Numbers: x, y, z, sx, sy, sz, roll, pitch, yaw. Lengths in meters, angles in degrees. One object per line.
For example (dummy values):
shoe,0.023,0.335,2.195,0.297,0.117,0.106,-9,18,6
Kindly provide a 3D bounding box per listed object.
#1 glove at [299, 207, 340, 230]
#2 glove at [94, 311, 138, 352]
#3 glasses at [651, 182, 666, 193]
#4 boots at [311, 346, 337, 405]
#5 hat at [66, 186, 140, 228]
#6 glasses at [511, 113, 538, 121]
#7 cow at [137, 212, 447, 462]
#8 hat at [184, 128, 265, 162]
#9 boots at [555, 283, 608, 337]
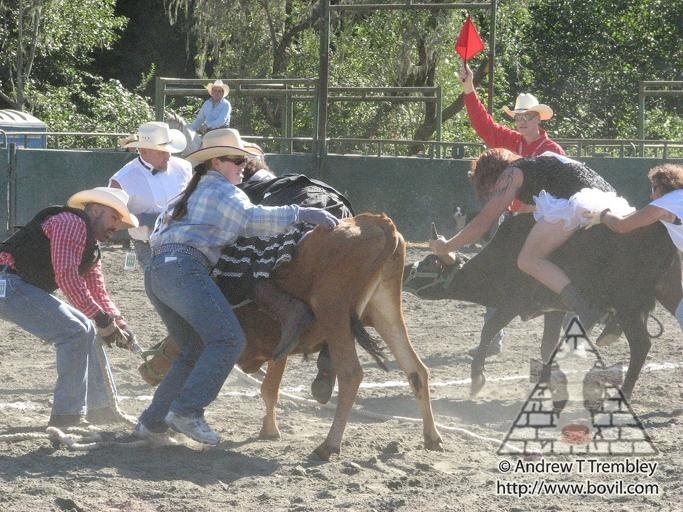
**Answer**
glove,-0.211,-0.367,13.880,0.408,0.203,0.287,4,4,-1
glove,-2.334,0.789,14.354,0.528,0.424,0.274,2,5,-30
glasses,3.420,-0.717,14.856,0.100,0.112,0.113,1,24,-16
boots,-0.167,1.269,14.442,0.211,0.614,0.247,2,-30,-5
hat,-2.464,-0.501,14.481,0.523,0.404,0.848,8,5,36
glasses,2.162,-1.623,16.150,0.298,0.117,0.204,6,5,15
cow,0.021,0.803,14.208,2.210,2.513,0.726,4,5,-3
hat,-1.175,-1.135,14.103,0.515,0.380,0.703,10,15,31
boots,2.573,0.561,14.732,0.528,0.524,0.448,-5,14,-18
